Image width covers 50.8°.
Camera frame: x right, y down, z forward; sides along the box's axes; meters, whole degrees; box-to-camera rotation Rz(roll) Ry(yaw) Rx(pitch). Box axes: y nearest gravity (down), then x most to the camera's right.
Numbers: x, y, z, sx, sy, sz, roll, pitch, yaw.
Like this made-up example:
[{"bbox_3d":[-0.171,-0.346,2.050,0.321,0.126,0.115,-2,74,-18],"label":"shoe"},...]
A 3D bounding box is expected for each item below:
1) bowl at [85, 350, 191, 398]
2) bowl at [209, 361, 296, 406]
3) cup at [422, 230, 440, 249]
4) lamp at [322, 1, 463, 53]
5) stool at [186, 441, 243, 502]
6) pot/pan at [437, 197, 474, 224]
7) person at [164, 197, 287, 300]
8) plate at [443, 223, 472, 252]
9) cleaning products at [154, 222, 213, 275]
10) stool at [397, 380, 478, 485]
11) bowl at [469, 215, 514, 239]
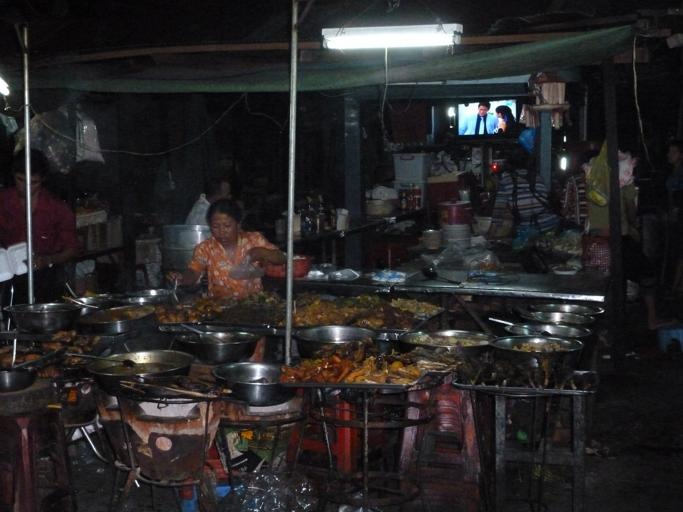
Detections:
[{"bbox_3d":[-1.396,0.806,5.073,0.692,0.209,0.579,-2,4,-31],"label":"bowl"},{"bbox_3d":[-0.675,0.874,5.103,0.455,0.111,0.412,7,10,25],"label":"bowl"},{"bbox_3d":[1.272,-0.235,10.138,0.313,0.228,0.269,0,4,-13],"label":"cup"},{"bbox_3d":[0.405,-1.796,5.822,1.110,0.185,0.277,0,3,2],"label":"lamp"},{"bbox_3d":[-0.970,1.593,5.409,0.454,0.451,0.170,-1,4,-11],"label":"stool"},{"bbox_3d":[1.551,-0.613,9.833,0.458,0.231,0.386,0,6,-4],"label":"pot/pan"},{"bbox_3d":[-1.309,-0.060,7.835,1.413,1.268,0.904,-3,31,-7],"label":"person"},{"bbox_3d":[1.441,-0.254,9.393,0.407,0.328,0.378,1,4,34],"label":"plate"},{"bbox_3d":[-1.900,-0.105,8.932,0.619,0.463,0.517,2,3,6],"label":"cleaning products"},{"bbox_3d":[0.743,1.286,5.408,0.585,0.756,0.263,1,4,15],"label":"stool"},{"bbox_3d":[2.516,-0.476,11.838,0.546,0.241,0.524,1,4,0],"label":"bowl"}]
